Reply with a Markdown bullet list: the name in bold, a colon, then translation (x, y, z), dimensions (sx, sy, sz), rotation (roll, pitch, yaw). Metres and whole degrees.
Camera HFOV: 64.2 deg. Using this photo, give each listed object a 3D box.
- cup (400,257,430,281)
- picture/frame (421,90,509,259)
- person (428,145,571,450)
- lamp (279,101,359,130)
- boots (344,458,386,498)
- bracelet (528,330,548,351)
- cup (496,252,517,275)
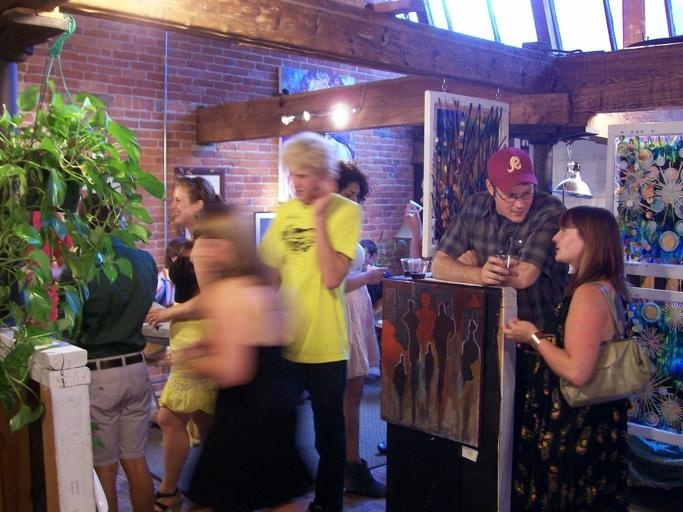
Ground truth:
- **cup**: translation (0.405, 0.069, 2.874), dimensions (0.119, 0.076, 0.119), rotation (1, -2, 0)
- **picture/frame**: translation (0.780, -0.506, 3.466), dimensions (0.057, 1.302, 1.137), rotation (1, -3, 42)
- **person**: translation (0.925, 0.163, 3.090), dimensions (0.695, 1.421, 0.752), rotation (-6, 13, -26)
- **lamp**: translation (-0.215, -1.275, 5.042), dimensions (0.829, 0.250, 0.245), rotation (4, 12, 29)
- **boots**: translation (0.127, 1.430, 3.474), dimensions (0.361, 0.246, 0.131), rotation (3, -3, -5)
- **bracelet**: translation (0.856, 0.363, 2.377), dimensions (0.080, 0.090, 0.059), rotation (-28, 34, -23)
- **cup**: translation (0.765, 0.024, 2.519), dimensions (0.086, 0.069, 0.081), rotation (0, 0, 0)
